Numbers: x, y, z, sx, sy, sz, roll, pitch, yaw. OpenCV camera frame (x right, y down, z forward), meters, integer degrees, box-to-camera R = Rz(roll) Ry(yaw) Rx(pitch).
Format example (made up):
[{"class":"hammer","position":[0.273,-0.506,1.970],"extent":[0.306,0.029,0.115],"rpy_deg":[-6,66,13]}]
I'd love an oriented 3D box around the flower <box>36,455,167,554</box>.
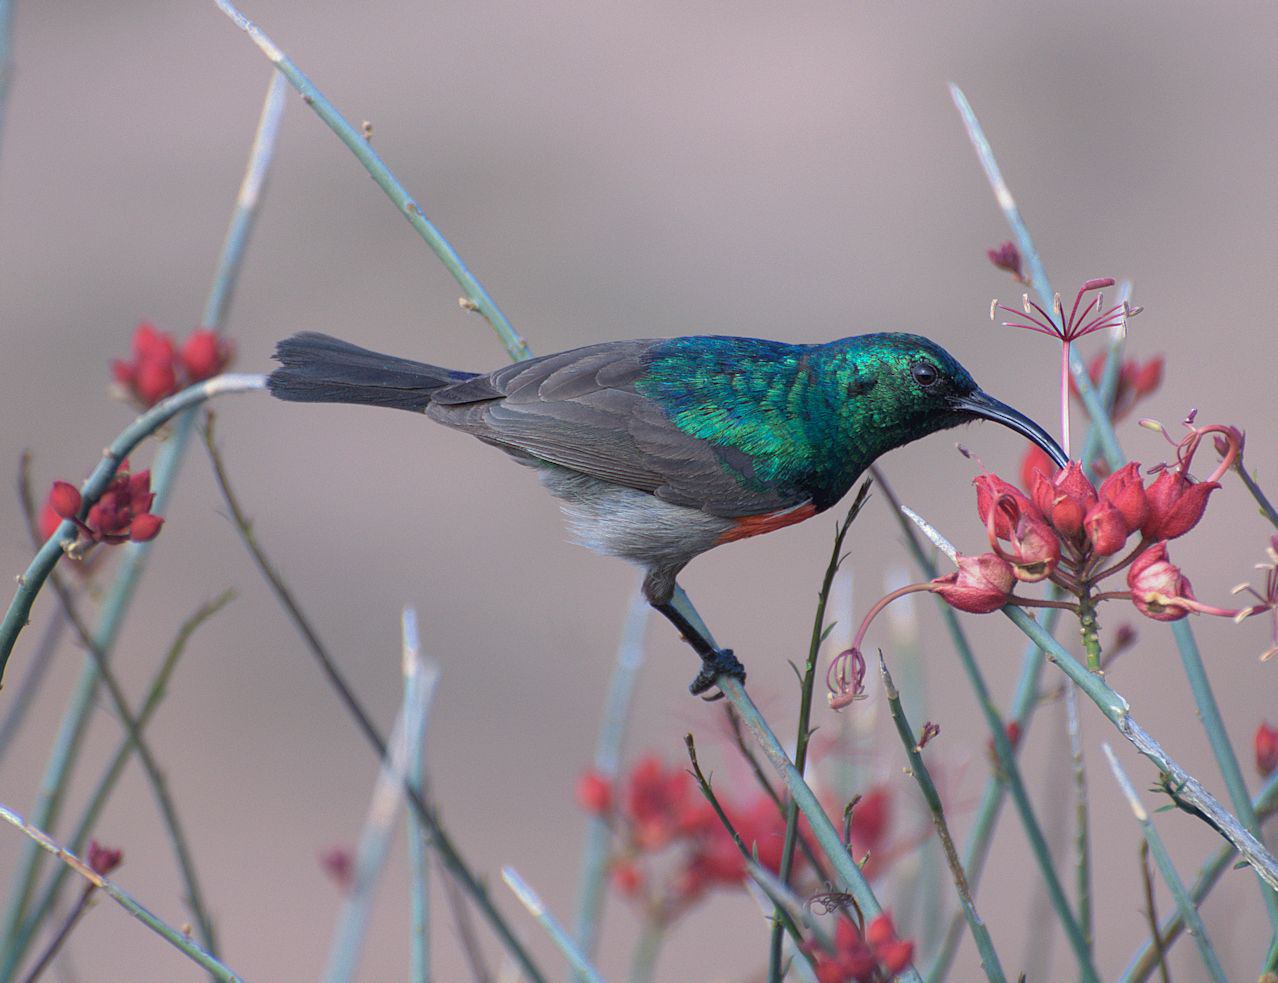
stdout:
[{"class":"flower","position":[-1.024,0.048,2.687],"extent":[0.261,0.175,0.249],"rpy_deg":[7,2,-25]}]

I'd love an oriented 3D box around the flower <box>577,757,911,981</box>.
[{"class":"flower","position":[0.188,0.729,3.047],"extent":[0.481,0.470,0.447],"rpy_deg":[29,-52,-33]}]
